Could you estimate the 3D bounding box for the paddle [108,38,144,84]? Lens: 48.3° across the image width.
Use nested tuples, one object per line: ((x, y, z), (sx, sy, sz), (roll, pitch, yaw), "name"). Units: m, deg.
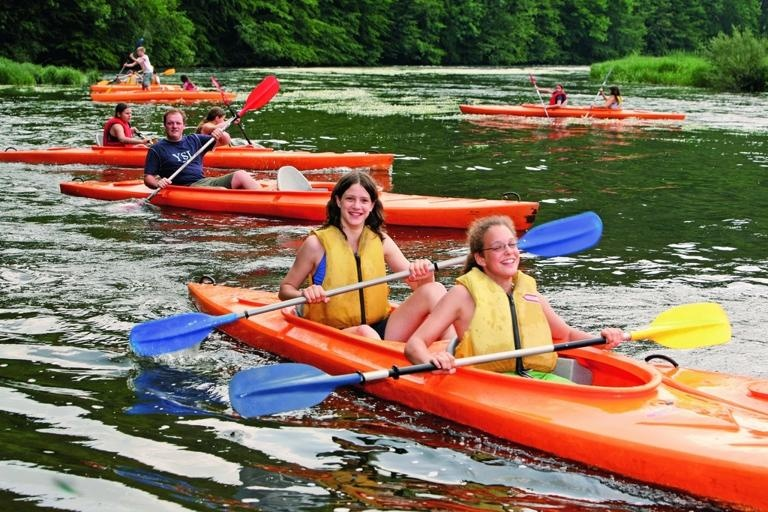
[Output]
((-6.951, -5.183, 23.205), (0.301, 2.175, 0.206), (14, -31, 7), "paddle")
